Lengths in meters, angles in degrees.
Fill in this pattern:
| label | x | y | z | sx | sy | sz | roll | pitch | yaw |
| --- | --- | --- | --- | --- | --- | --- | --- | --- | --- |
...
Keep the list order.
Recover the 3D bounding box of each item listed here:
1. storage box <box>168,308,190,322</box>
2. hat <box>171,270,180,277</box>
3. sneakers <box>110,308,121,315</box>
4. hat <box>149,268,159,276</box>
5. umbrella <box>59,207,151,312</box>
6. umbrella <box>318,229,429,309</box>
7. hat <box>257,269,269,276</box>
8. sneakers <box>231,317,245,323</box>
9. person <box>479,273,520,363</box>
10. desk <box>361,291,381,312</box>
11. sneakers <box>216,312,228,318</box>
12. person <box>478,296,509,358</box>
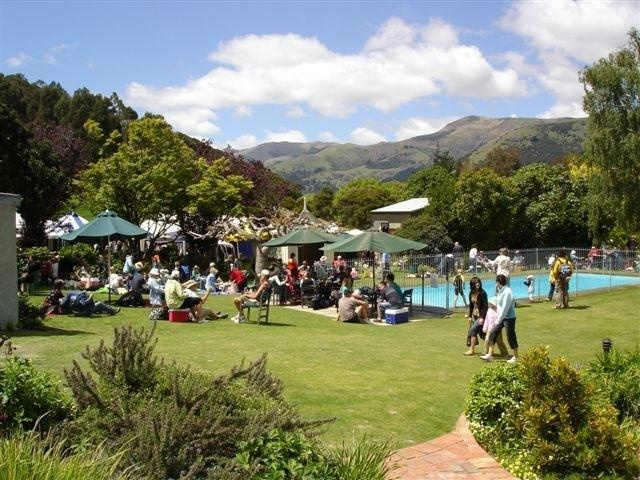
| label | x | y | z | sx | sy | sz | roll | pitch | yaw |
| --- | --- | --- | --- | --- | --- | --- | --- | --- | --- |
| storage box | -4.266 | 2.307 | 16.840 | 0.631 | 0.410 | 0.339 | -1 | -4 | -12 |
| hat | -4.405 | 1.037 | 16.849 | 0.220 | 0.164 | 0.324 | 5 | -4 | -5 |
| sneakers | -6.596 | 2.304 | 17.821 | 0.158 | 0.216 | 0.490 | 2 | 10 | 5 |
| hat | -5.286 | 1.032 | 17.792 | 0.274 | 0.131 | 0.288 | 2 | -6 | 11 |
| umbrella | -8.596 | 0.735 | 21.486 | 3.332 | 3.791 | 3.553 | -2 | -1 | -16 |
| umbrella | 1.902 | 0.987 | 20.199 | 2.414 | 1.711 | 2.617 | -1 | 0 | 35 |
| hat | -2.170 | 1.247 | 21.064 | 0.462 | 0.259 | 0.700 | 0 | -4 | 6 |
| sneakers | -2.636 | 2.533 | 17.589 | 0.176 | 0.224 | 0.485 | 2 | -1 | -34 |
| person | 4.276 | 1.843 | 13.113 | 0.785 | 2.016 | 0.681 | -1 | -3 | 32 |
| desk | 1.784 | 2.182 | 19.961 | 0.623 | 0.806 | 0.810 | 4 | -6 | -38 |
| sneakers | -3.239 | 2.479 | 18.305 | 0.180 | 0.265 | 0.587 | 2 | -12 | -39 |
| person | 4.128 | 2.123 | 13.263 | 0.486 | 1.414 | 0.646 | 25 | -33 | -34 |
